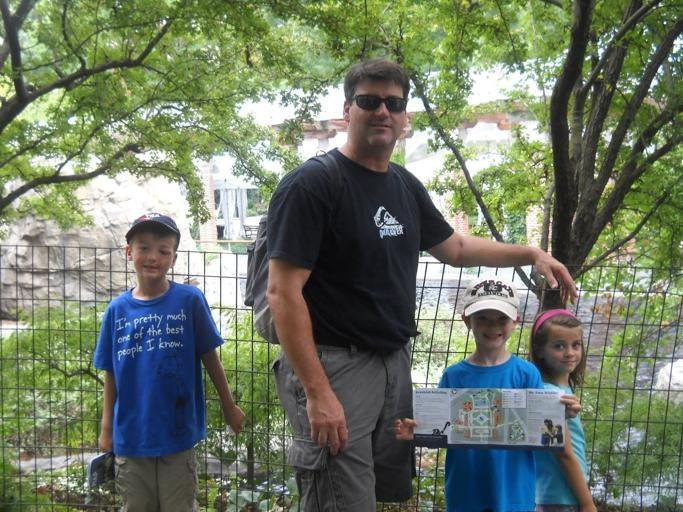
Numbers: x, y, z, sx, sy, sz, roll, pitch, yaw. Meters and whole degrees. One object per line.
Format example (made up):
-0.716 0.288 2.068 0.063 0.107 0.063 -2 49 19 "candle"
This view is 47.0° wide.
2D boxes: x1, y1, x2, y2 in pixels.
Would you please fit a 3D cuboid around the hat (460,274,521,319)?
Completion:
1.277 0.350 6.729 0.466 0.352 0.673 2 -1 6 "hat"

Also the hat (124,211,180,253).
-1.696 -0.237 6.969 0.292 0.387 0.189 -10 -29 -10 "hat"

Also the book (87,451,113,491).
-2.140 1.871 6.803 0.075 0.286 0.287 11 11 18 "book"
